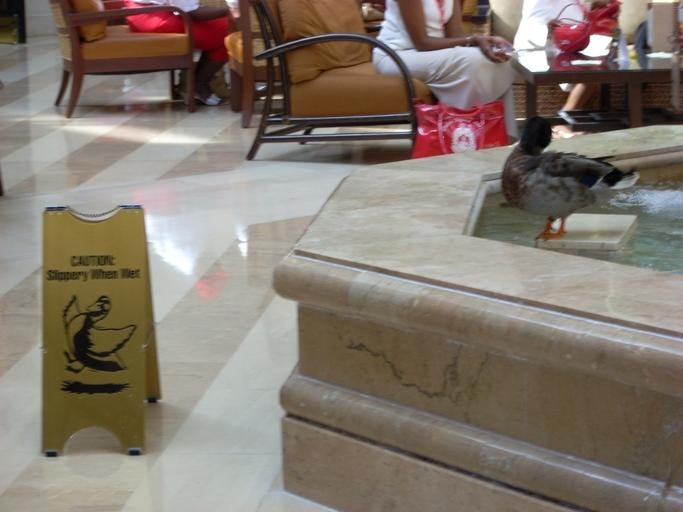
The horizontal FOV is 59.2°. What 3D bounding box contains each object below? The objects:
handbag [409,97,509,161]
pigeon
[{"bbox_3d":[0.558,-0.598,2.853,0.433,0.262,0.247,1,22,4],"label":"handbag"},{"bbox_3d":[0.526,-0.193,1.420,0.216,0.263,0.309,18,28,37],"label":"pigeon"}]
